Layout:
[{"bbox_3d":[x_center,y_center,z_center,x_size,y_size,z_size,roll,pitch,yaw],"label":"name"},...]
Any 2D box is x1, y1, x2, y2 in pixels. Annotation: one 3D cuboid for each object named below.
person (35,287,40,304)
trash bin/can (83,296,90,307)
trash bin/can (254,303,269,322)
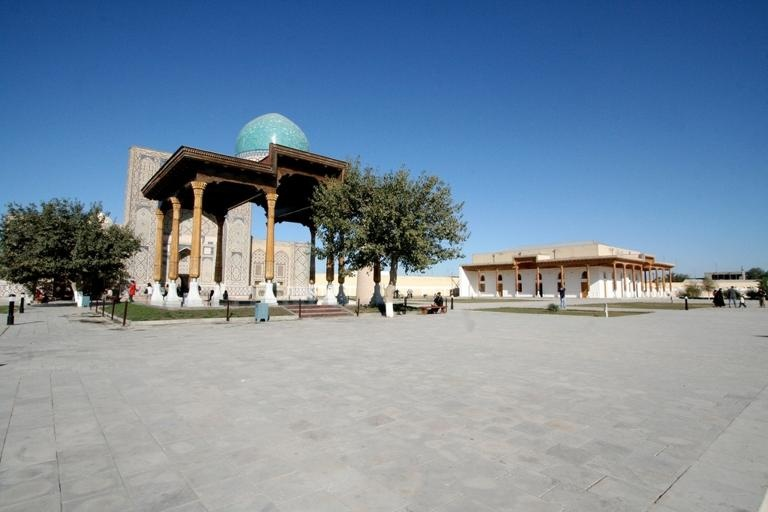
[{"bbox_3d":[-25.188,2.783,36.587,0.449,0.975,1.278,-5,8,-35],"label":"person"},{"bbox_3d":[-17.498,2.599,29.533,0.354,0.618,0.408,-5,8,-36],"label":"trash bin/can"},{"bbox_3d":[-5.009,2.310,20.768,0.555,0.700,0.777,-3,7,-27],"label":"trash bin/can"}]
